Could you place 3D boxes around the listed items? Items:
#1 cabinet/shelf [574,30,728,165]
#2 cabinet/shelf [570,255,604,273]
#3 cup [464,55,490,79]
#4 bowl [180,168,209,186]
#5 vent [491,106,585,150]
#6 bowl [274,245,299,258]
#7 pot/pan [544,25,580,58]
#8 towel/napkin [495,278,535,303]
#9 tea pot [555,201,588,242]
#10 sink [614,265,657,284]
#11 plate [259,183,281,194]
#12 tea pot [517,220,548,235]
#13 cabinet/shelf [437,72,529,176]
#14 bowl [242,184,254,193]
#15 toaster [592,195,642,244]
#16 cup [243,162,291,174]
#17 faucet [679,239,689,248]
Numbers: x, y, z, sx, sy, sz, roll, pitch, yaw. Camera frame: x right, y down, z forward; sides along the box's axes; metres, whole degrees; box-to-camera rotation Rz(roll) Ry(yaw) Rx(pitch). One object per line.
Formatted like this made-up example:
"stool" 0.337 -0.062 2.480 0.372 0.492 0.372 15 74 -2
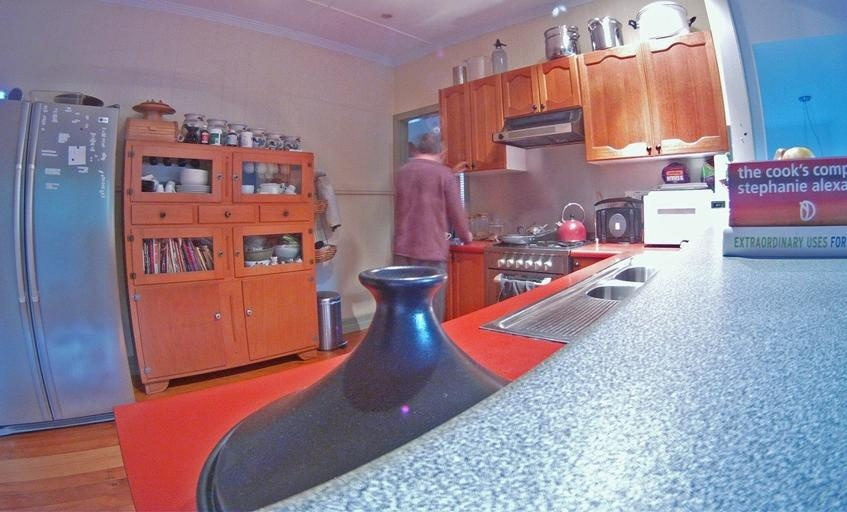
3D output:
"cabinet/shelf" 1.879 -1.270 4.002 0.418 0.851 1.065 -28 22 -34
"cabinet/shelf" 1.241 0.048 3.835 0.141 0.180 0.202 4 -4 -41
"cup" 0.499 -1.752 4.781 0.236 0.222 0.215 -3 4 0
"bowl" -1.864 -0.626 4.119 0.159 0.120 0.168 -1 -2 0
"vent" 1.087 -1.122 4.471 0.773 0.255 0.577 -1 5 38
"bowl" -1.221 -0.041 4.527 0.143 0.079 0.143 -2 -2 0
"pot/pan" 1.155 -1.794 4.355 0.326 0.230 0.253 -1 2 39
"towel/napkin" 0.648 0.230 3.548 0.253 0.223 0.043 7 9 40
"tea pot" 1.297 -0.281 4.341 0.315 0.304 0.219 -3 14 -1
"sink" 1.072 0.096 2.570 0.195 0.087 0.254 -3 -4 24
"plate" -1.340 -0.588 4.440 0.113 0.080 0.123 -3 -1 -33
"tea pot" 1.029 -0.260 4.699 0.232 0.106 0.159 -5 4 -6
"cabinet/shelf" 0.607 -1.236 4.889 0.453 0.858 0.954 -8 10 -35
"bowl" -1.505 -0.574 4.341 0.076 0.048 0.073 -3 0 0
"toaster" 1.655 -0.293 4.196 0.407 0.357 0.268 1 7 38
"cup" -1.388 -0.757 4.470 0.143 0.061 0.249 2 6 35
"faucet" 1.485 -0.073 2.877 0.081 0.025 0.057 -18 14 -41
